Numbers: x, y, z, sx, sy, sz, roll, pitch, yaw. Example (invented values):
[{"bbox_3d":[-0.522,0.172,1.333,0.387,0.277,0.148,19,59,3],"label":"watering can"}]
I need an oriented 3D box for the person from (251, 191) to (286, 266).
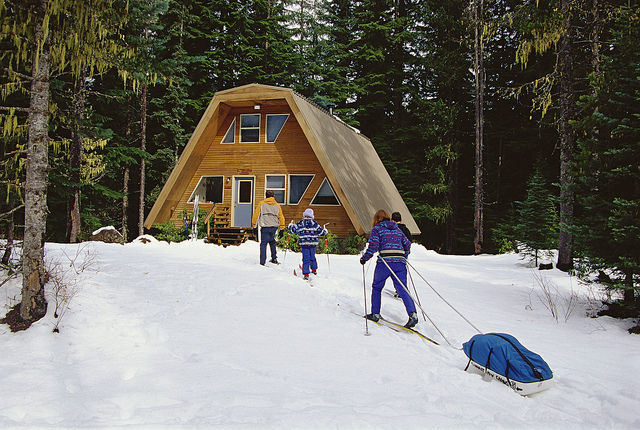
[{"bbox_3d":[-1.830,0.471,19.197,0.894,2.598,0.686,6,-5,-40],"label":"person"}]

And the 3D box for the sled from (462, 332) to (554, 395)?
[{"bbox_3d":[4.599,3.504,13.518,1.630,0.866,2.333,-2,10,-28],"label":"sled"}]

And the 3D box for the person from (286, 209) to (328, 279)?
[{"bbox_3d":[-0.435,0.937,17.918,1.129,2.253,0.975,3,-4,-5],"label":"person"}]

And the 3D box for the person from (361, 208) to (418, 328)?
[{"bbox_3d":[1.937,1.451,15.251,1.508,3.209,0.979,3,-4,-6],"label":"person"}]
